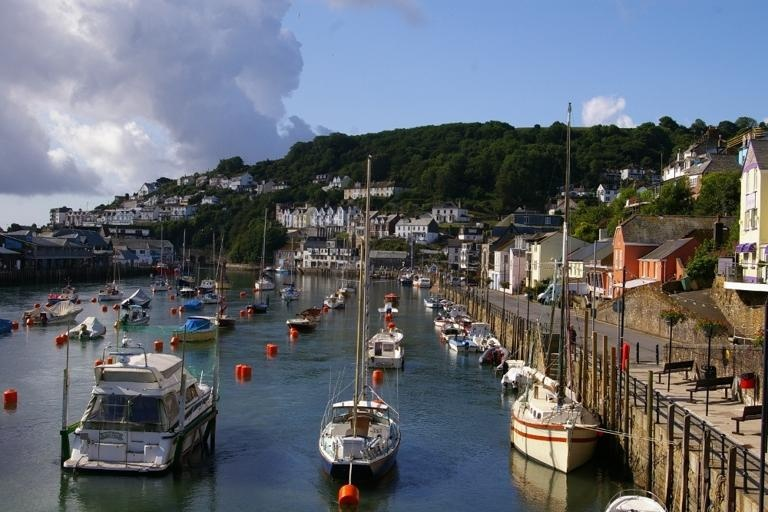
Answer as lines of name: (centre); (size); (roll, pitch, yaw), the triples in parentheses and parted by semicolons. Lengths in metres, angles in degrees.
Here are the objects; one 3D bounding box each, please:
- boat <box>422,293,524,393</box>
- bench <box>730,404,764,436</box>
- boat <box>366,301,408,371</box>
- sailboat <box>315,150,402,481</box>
boat: (8.713, 7.910, 89.772); (4.882, 2.452, 47.509); (0, 4, -3)
bench: (20.970, 9.356, 50.821); (1.846, 1.567, 1.850); (0, 4, 2)
boat: (0.419, 7.334, 80.195); (2.966, 4.616, 11.685); (0, 2, 4)
sailboat: (-1.497, 3.346, 55.740); (3.915, 19.184, 17.067); (0, 10, -6)
